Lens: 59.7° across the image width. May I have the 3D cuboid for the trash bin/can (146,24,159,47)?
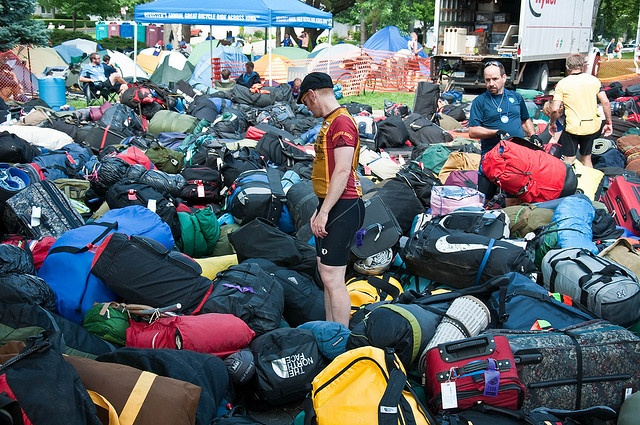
[{"bbox_3d":[-12.595,-13.440,42.227,1.157,1.581,2.498,-3,13,-14],"label":"trash bin/can"}]

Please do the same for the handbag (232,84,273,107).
[{"bbox_3d":[-1.615,-2.691,13.039,0.734,0.275,0.617,3,13,-7],"label":"handbag"}]

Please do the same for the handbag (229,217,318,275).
[{"bbox_3d":[-0.510,0.340,5.924,0.747,0.312,0.558,21,57,10],"label":"handbag"}]

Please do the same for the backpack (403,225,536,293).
[{"bbox_3d":[1.416,0.395,5.583,0.994,0.387,0.630,7,12,35],"label":"backpack"}]

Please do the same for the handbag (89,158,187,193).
[{"bbox_3d":[-2.252,-0.449,6.930,0.862,0.325,0.491,11,5,-6],"label":"handbag"}]

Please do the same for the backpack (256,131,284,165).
[{"bbox_3d":[-0.770,-0.953,8.410,0.423,0.447,0.615,-1,13,-8],"label":"backpack"}]

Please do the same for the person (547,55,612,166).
[{"bbox_3d":[3.946,-1.541,8.580,0.787,1.687,0.537,-8,16,-31],"label":"person"}]

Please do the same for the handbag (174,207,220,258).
[{"bbox_3d":[-1.398,0.281,6.456,0.431,0.549,0.557,17,32,28],"label":"handbag"}]

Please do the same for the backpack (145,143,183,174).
[{"bbox_3d":[-2.200,-0.739,8.030,0.395,0.192,0.506,27,6,15],"label":"backpack"}]

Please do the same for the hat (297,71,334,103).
[{"bbox_3d":[-0.042,-1.172,5.157,0.286,0.148,0.212,-1,13,35],"label":"hat"}]

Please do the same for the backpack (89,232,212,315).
[{"bbox_3d":[-1.662,0.623,5.531,1.069,0.656,0.374,24,-12,-9],"label":"backpack"}]

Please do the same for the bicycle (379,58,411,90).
[{"bbox_3d":[2.804,-5.267,21.230,1.111,1.208,0.305,2,14,6],"label":"bicycle"}]

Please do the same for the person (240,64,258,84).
[{"bbox_3d":[-1.900,-3.726,15.093,0.544,0.623,0.889,-5,14,-23],"label":"person"}]

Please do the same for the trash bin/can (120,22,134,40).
[{"bbox_3d":[-16.566,-15.613,47.617,1.039,1.171,1.182,-7,15,-27],"label":"trash bin/can"}]

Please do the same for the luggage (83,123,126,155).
[{"bbox_3d":[-3.499,-1.194,9.021,0.597,0.414,0.601,13,-6,-29],"label":"luggage"}]

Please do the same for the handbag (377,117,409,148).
[{"bbox_3d":[1.261,-1.394,9.836,0.703,0.524,0.481,-2,14,-11],"label":"handbag"}]

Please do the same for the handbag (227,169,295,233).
[{"bbox_3d":[-0.799,-0.219,6.804,0.736,0.453,0.821,-15,41,-36],"label":"handbag"}]

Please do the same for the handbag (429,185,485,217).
[{"bbox_3d":[1.565,-0.111,6.485,0.501,0.305,0.524,10,16,36],"label":"handbag"}]

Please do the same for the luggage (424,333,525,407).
[{"bbox_3d":[1.149,1.239,4.329,0.675,0.659,0.534,-13,55,8],"label":"luggage"}]

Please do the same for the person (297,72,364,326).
[{"bbox_3d":[0.087,-0.112,5.230,0.582,2.325,0.519,7,16,26],"label":"person"}]

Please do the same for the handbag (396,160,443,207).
[{"bbox_3d":[1.243,-0.340,6.988,0.497,0.357,0.469,35,6,-34],"label":"handbag"}]

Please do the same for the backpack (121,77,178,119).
[{"bbox_3d":[-3.464,-2.319,11.548,0.813,0.425,1.028,29,19,23],"label":"backpack"}]

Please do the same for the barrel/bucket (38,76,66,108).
[{"bbox_3d":[-6.635,-3.012,13.908,0.623,0.710,0.547,-11,18,-41],"label":"barrel/bucket"}]

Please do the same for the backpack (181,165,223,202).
[{"bbox_3d":[-1.571,-0.330,7.382,0.534,0.452,0.456,-2,13,-9],"label":"backpack"}]

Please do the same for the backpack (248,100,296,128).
[{"bbox_3d":[-1.000,-2.011,11.445,0.821,0.311,0.596,-4,32,-15],"label":"backpack"}]

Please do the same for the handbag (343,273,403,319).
[{"bbox_3d":[0.515,0.791,5.641,0.477,0.356,0.453,-9,5,-36],"label":"handbag"}]

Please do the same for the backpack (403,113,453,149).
[{"bbox_3d":[1.868,-1.523,10.196,0.595,0.253,0.848,-23,51,-28],"label":"backpack"}]

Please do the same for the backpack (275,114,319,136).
[{"bbox_3d":[-0.368,-1.738,11.008,0.666,0.256,0.667,10,21,30],"label":"backpack"}]

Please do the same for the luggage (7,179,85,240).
[{"bbox_3d":[-3.034,-0.002,6.168,0.682,0.663,0.242,-33,-4,-39],"label":"luggage"}]

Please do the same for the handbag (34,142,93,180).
[{"bbox_3d":[-3.615,-0.730,7.928,0.654,0.247,0.486,-9,25,-44],"label":"handbag"}]

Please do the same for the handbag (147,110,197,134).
[{"bbox_3d":[-2.708,-1.629,10.200,0.899,0.406,0.531,-1,13,-6],"label":"handbag"}]
